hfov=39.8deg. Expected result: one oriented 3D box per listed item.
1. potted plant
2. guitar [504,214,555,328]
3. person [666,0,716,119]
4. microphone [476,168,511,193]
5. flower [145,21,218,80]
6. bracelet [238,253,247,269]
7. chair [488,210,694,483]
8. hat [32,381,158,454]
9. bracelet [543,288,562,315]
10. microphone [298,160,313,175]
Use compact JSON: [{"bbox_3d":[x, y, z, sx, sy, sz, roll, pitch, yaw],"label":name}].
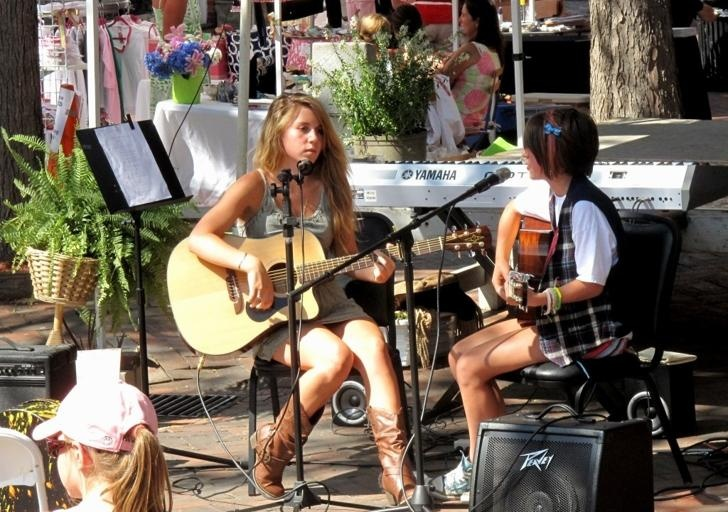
[{"bbox_3d":[-1.750,-0.071,6.203,0.943,1.320,1.205,-9,12,-34],"label":"potted plant"},{"bbox_3d":[0.840,0.071,5.050,0.170,0.560,0.540,10,2,11],"label":"guitar"},{"bbox_3d":[3.314,-1.950,10.158,0.374,1.184,1.066,3,12,29],"label":"person"},{"bbox_3d":[0.609,-0.366,4.760,0.154,0.107,0.301,-1,11,7],"label":"microphone"},{"bbox_3d":[-1.551,-1.699,8.549,0.401,0.424,0.529,1,4,20],"label":"flower"},{"bbox_3d":[-0.630,0.022,5.195,0.057,0.061,0.014,-8,-16,39],"label":"bracelet"},{"bbox_3d":[1.227,0.521,5.227,0.844,1.337,0.792,-8,8,-21],"label":"chair"},{"bbox_3d":[-1.026,0.589,3.813,0.338,0.194,0.263,11,-3,14],"label":"hat"},{"bbox_3d":[0.914,0.217,4.902,0.060,0.096,0.128,-1,0,-12],"label":"bracelet"},{"bbox_3d":[-0.290,-0.424,4.901,0.068,0.069,0.080,-2,10,-1],"label":"microphone"}]
